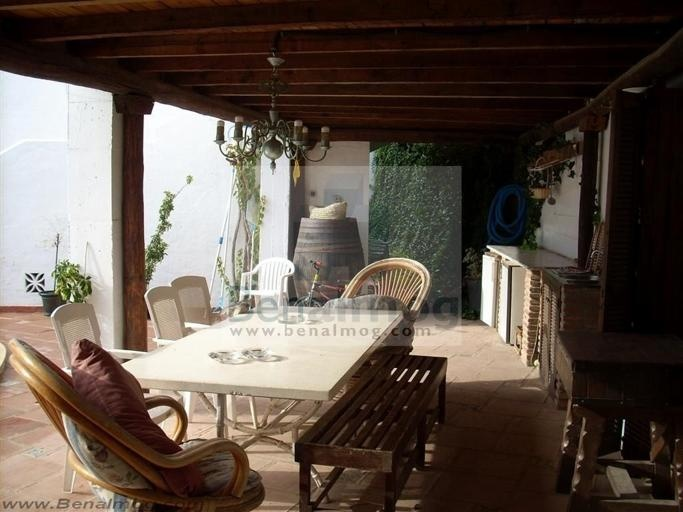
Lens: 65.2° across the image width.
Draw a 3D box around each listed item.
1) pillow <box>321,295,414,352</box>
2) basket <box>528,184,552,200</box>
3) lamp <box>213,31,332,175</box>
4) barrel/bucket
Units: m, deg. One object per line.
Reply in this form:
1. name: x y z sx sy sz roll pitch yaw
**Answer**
1. pillow: 0.194 0.508 3.985 0.474 0.198 0.548 0 2 7
2. basket: 2.402 -0.780 6.486 0.266 0.139 0.230 6 9 31
3. lamp: -0.660 -1.457 5.048 1.309 1.456 1.237 1 8 -3
4. barrel/bucket: -0.219 0.058 7.293 1.031 1.296 1.052 1 -1 0
